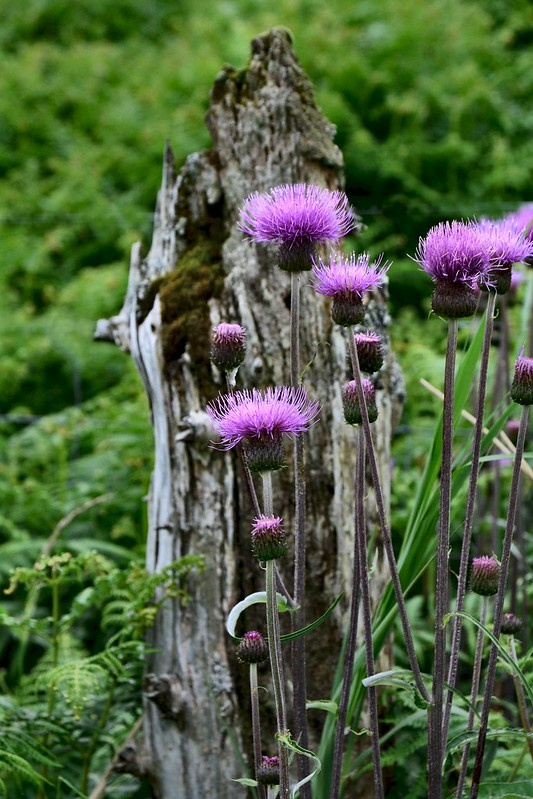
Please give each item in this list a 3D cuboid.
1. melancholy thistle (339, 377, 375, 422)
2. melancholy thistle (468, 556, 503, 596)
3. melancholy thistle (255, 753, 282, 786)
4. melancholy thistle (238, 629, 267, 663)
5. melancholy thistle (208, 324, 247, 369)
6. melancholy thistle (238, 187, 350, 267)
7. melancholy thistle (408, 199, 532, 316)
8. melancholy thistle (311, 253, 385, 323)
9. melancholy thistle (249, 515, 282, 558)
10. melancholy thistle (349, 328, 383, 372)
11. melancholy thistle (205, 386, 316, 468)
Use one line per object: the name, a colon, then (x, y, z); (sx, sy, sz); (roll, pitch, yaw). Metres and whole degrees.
melancholy thistle: (0.246, -0.002, 4.612); (0.095, 0.138, 0.100); (-4, 3, -6)
melancholy thistle: (0.584, 0.472, 4.677); (0.091, 0.118, 0.093); (2, -15, -10)
melancholy thistle: (0.007, 0.971, 4.607); (0.065, 0.073, 0.068); (-1, -1, -8)
melancholy thistle: (-0.034, 0.660, 4.698); (0.071, 0.082, 0.076); (2, 6, 1)
melancholy thistle: (-0.103, -0.148, 4.693); (0.091, 0.128, 0.125); (-8, 24, -2)
melancholy thistle: (0.080, -0.459, 4.689); (0.237, 0.228, 0.247); (-7, 22, -13)
melancholy thistle: (0.525, -0.356, 4.607); (0.251, 0.246, 0.260); (-8, 19, -15)
melancholy thistle: (0.198, -0.293, 4.632); (0.188, 0.212, 0.195); (0, 4, 24)
melancholy thistle: (0.010, 0.350, 4.529); (0.089, 0.103, 0.093); (3, -7, -14)
melancholy thistle: (0.272, -0.133, 4.667); (0.089, 0.115, 0.090); (-5, -1, -2)
melancholy thistle: (0.003, 0.057, 4.616); (0.235, 0.212, 0.231); (-8, 2, -43)
